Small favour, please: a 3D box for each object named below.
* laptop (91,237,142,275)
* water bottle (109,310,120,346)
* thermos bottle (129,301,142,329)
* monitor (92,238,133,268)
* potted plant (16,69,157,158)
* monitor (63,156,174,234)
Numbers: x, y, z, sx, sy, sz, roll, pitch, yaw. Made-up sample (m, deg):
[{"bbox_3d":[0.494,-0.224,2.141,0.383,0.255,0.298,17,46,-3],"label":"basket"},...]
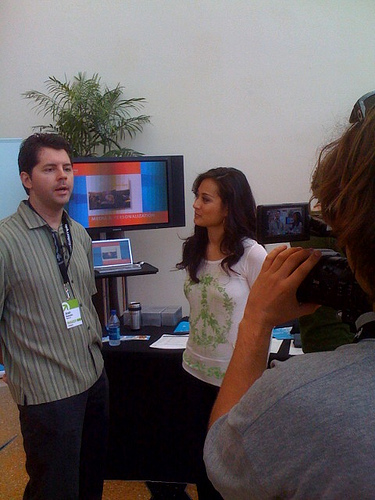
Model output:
[{"bbox_3d":[-0.571,0.060,3.170,0.394,0.226,0.287,-9,17,-39],"label":"laptop"},{"bbox_3d":[-0.444,0.465,2.372,0.061,0.163,0.218,-4,12,-9],"label":"water bottle"},{"bbox_3d":[-0.338,0.430,2.570,0.074,0.163,0.101,-4,12,-9],"label":"thermos bottle"},{"bbox_3d":[-0.565,0.051,3.176,0.392,0.229,0.214,-5,9,-43],"label":"monitor"},{"bbox_3d":[-1.140,-1.253,4.019,1.214,1.091,1.057,19,13,33],"label":"potted plant"},{"bbox_3d":[-0.610,-0.502,3.401,0.812,0.536,0.081,-3,9,-12],"label":"monitor"}]
